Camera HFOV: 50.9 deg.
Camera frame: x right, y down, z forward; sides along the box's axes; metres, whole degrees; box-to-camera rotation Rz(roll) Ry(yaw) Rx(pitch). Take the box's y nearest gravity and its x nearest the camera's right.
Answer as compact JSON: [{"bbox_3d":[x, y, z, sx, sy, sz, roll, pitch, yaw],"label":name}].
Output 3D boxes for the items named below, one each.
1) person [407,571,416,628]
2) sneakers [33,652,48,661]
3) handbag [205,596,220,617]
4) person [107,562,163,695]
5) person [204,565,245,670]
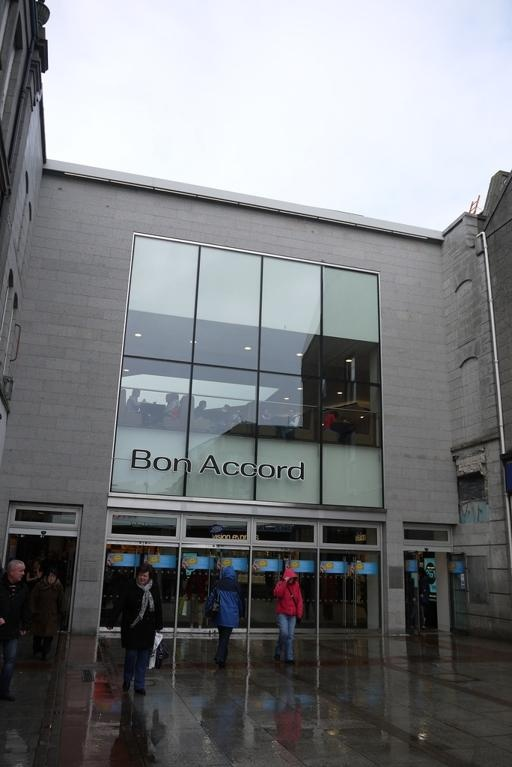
[{"bbox_3d":[4.316,6.049,14.991,0.299,1.516,0.132,-12,-19,38],"label":"person"},{"bbox_3d":[-3.678,4.629,9.200,0.156,0.108,0.475,10,-19,-30],"label":"sneakers"},{"bbox_3d":[-0.734,3.780,9.101,0.190,0.353,0.185,14,-21,-41],"label":"handbag"},{"bbox_3d":[-1.422,2.960,6.505,0.528,1.489,0.642,3,-15,-9],"label":"person"},{"bbox_3d":[-0.555,3.998,9.294,0.596,1.639,0.764,1,-15,-1],"label":"person"}]
